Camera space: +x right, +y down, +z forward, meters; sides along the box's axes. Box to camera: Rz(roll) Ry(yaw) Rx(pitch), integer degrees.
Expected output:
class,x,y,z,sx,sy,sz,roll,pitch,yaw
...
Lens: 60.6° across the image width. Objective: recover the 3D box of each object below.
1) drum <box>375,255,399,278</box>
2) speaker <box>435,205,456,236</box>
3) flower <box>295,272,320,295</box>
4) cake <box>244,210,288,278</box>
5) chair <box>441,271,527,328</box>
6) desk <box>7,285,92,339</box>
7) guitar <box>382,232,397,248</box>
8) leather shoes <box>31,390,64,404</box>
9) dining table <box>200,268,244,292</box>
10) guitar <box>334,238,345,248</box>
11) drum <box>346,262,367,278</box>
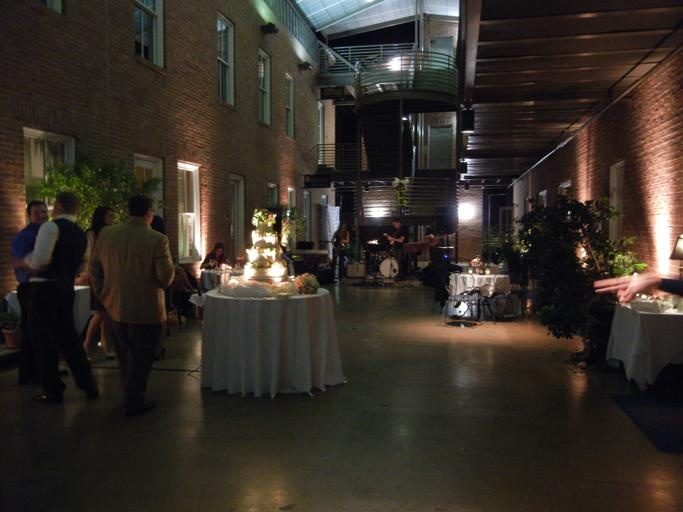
class,x,y,z,sx,sy,sz,roll,pitch,yaw
drum,1.380,0.327,17.382,0.523,0.654,0.355,1,6,1
speaker,3.144,-1.081,17.743,0.764,0.813,1.141,-1,14,5
flower,-0.409,0.316,6.823,0.224,0.180,0.233,1,2,29
cake,-0.904,-0.144,6.979,0.484,0.828,0.588,0,6,-9
chair,2.719,0.824,11.367,1.254,0.797,0.977,0,-2,-7
desk,-3.814,0.703,8.314,0.866,0.554,0.905,0,-3,3
guitar,1.493,-0.504,18.077,0.412,0.399,0.668,1,6,2
leather shoes,-3.208,1.536,6.425,0.322,0.148,0.123,6,0,0
dining table,-2.352,0.429,10.489,0.655,0.365,0.674,0,-2,-10
guitar,-0.064,-0.412,19.116,0.246,0.355,0.359,3,-11,1
drum,0.463,0.461,19.330,0.485,0.470,0.505,0,0,0
